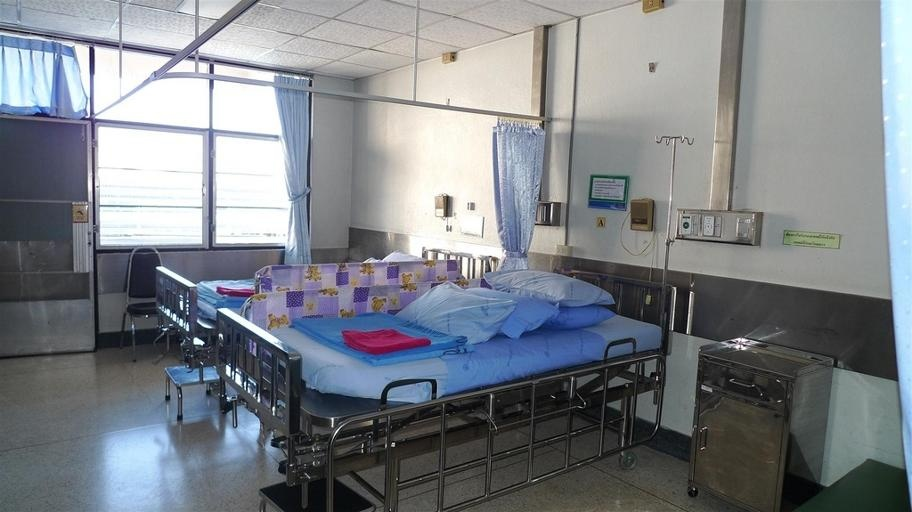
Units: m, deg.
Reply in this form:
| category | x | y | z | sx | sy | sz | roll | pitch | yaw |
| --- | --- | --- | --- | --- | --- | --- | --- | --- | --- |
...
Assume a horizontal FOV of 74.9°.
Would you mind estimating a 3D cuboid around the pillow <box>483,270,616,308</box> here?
| category | x | y | z | sx | sy | sz | roll | pitch | yaw |
| --- | --- | --- | --- | --- | --- | --- | --- | --- | --- |
| pillow | 0.864 | 0.308 | 6.224 | 0.563 | 0.193 | 0.881 | -1 | 4 | -36 |
